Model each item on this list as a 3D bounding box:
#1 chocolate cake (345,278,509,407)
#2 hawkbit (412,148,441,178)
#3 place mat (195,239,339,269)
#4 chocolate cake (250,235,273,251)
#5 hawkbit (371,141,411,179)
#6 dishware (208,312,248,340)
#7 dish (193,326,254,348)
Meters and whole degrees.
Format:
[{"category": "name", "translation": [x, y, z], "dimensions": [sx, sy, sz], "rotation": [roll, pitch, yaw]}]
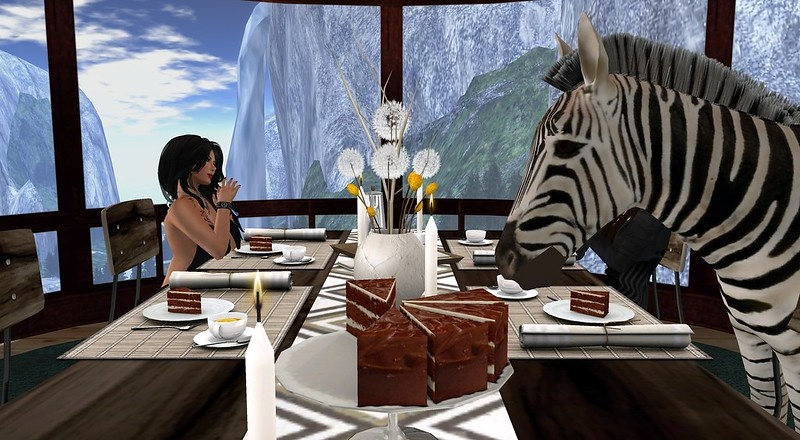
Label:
[{"category": "chocolate cake", "translation": [0.091, 0.375, 1.348], "dimensions": [0.468, 0.215, 0.324], "rotation": [-3, 9, -8]}, {"category": "hawkbit", "translation": [0.111, -0.258, 2.081], "dimensions": [0.163, 0.138, 0.157], "rotation": [9, 12, 5]}, {"category": "place mat", "translation": [-0.727, 0.203, 2.632], "dimensions": [0.669, 0.045, 0.640], "rotation": [-1, 8, 2]}, {"category": "chocolate cake", "translation": [-0.823, 0.138, 2.629], "dimensions": [0.152, 0.086, 0.080], "rotation": [1, 2, 1]}, {"category": "hawkbit", "translation": [-0.034, -0.239, 1.848], "dimensions": [0.164, 0.143, 0.102], "rotation": [4, 1, -7]}, {"category": "dishware", "translation": [-0.630, 0.390, 1.597], "dimensions": [0.136, 0.066, 0.156], "rotation": [4, 4, 1]}, {"category": "dish", "translation": [-0.638, 0.419, 1.599], "dimensions": [0.206, 0.044, 0.118], "rotation": [-3, 8, -7]}]
